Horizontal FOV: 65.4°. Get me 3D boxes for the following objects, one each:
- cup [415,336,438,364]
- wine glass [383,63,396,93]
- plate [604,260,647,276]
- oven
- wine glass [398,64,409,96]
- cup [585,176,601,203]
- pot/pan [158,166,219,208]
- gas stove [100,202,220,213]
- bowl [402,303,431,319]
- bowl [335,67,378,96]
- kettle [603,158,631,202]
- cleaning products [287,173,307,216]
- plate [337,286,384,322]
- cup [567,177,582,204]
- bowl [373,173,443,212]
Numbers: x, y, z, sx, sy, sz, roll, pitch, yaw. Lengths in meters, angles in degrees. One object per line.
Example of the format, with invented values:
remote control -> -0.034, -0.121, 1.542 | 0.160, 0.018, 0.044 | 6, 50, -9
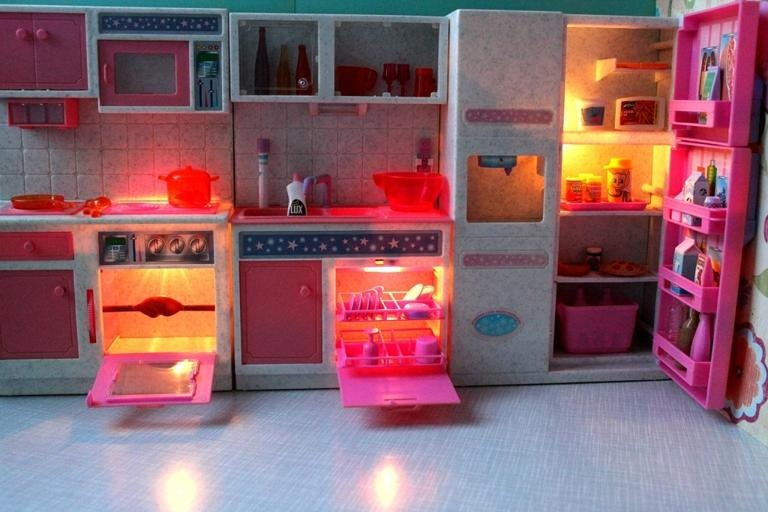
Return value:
cup -> 0.286, 0.602, 3.910 | 0.147, 0.172, 0.229 | -1, 13, 7
wine glass -> 0.048, -1.215, 4.084 | 0.106, 0.209, 0.100 | -3, 14, 0
plate -> 1.715, 0.088, 4.281 | 0.282, 0.084, 0.236 | -13, 16, -40
oven -> -1.435, 0.331, 3.784 | 0.846, 0.920, 1.072 | -1, 13, -19
wine glass -> 0.139, -1.217, 4.095 | 0.081, 0.221, 0.138 | -2, 14, 5
cup -> 1.431, -0.458, 4.088 | 0.102, 0.174, 0.105 | -3, 14, 1
pot/pan -> -1.317, -0.482, 4.078 | 0.438, 0.264, 0.294 | -1, 5, -16
gas stove -> -1.435, -0.302, 3.887 | 0.709, 0.052, 0.311 | -3, 12, -4
bowl -> 0.222, 0.334, 3.845 | 0.131, 0.058, 0.118 | 3, 8, 25
bowl -> -0.186, -1.160, 3.956 | 0.272, 0.189, 0.126 | -7, 14, -17
kettle -> 1.647, -0.542, 4.199 | 0.169, 0.287, 0.281 | 2, 14, 19
cleaning products -> -0.581, -0.413, 3.972 | 0.132, 0.260, 0.252 | -5, 14, -7
plate -> -0.145, 0.308, 3.854 | 0.275, 0.081, 0.199 | -5, 27, -6
cup -> 1.317, -0.456, 4.120 | 0.125, 0.153, 0.172 | 3, 8, 21
bowl -> 0.187, -0.433, 3.998 | 0.389, 0.167, 0.295 | 1, 10, 6
